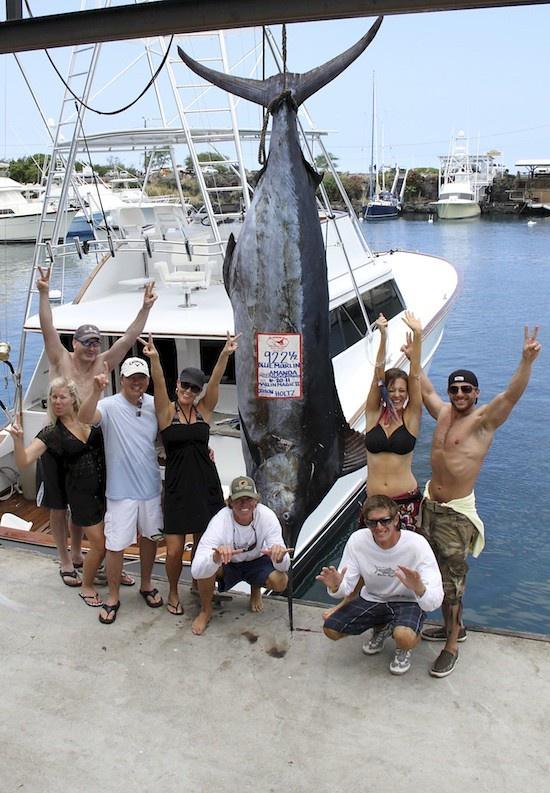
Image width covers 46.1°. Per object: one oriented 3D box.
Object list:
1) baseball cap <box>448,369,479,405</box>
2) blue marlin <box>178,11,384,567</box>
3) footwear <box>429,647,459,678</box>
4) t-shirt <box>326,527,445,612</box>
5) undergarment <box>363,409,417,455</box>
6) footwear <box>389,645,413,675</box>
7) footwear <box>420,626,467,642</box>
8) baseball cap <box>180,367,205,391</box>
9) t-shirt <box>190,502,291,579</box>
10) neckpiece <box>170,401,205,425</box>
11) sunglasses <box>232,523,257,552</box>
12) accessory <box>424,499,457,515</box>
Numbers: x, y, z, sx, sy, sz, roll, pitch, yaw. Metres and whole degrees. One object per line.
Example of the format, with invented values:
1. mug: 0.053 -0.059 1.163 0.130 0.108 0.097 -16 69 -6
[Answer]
1. baseball cap: 0.865 -0.059 3.077 0.127 0.169 0.146 -5 45 31
2. blue marlin: 0.261 -0.758 3.494 0.742 0.387 2.787 -15 -29 5
3. footwear: 0.707 1.136 2.759 0.057 0.054 0.156 -5 3 29
4. t-shirt: 0.475 0.762 2.757 0.471 0.323 0.365 -5 -1 28
5. undergarment: 0.572 0.157 3.268 0.306 0.268 0.157 1 -7 19
6. footwear: 0.535 1.140 2.775 0.056 0.067 0.162 -1 -5 19
7. footwear: 0.779 1.113 3.048 0.216 0.082 0.085 3 9 13
8. baseball cap: -0.400 -0.097 3.162 0.092 0.120 0.123 12 23 -8
9. t-shirt: -0.175 0.670 2.917 0.347 0.198 0.416 2 21 -1
10. neckpiece: -0.443 0.055 3.230 0.178 0.155 0.097 -4 5 -18
11. sunglasses: -0.145 0.657 3.038 0.098 0.124 0.055 -2 9 -2
12. accessory: 0.751 0.525 3.051 0.088 0.028 0.066 20 5 23
